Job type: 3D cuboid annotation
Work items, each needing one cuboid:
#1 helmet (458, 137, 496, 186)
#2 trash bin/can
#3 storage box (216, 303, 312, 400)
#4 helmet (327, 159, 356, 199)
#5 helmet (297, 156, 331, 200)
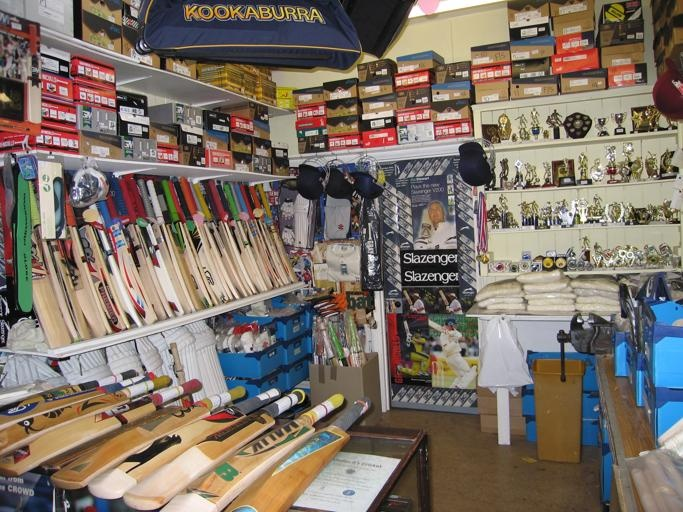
[{"bbox_3d":[1.132,-0.806,4.272,0.257,0.342,0.335,4,4,3],"label":"helmet"},{"bbox_3d":[1.704,1.215,3.857,0.379,0.744,0.248,-3,7,-1],"label":"trash bin/can"},{"bbox_3d":[-0.703,0.912,4.539,0.477,0.763,0.978,0,7,25],"label":"storage box"},{"bbox_3d":[0.002,-0.688,4.768,0.258,0.359,0.268,3,-37,-1],"label":"helmet"},{"bbox_3d":[-0.246,-0.741,4.755,0.271,0.290,0.347,8,33,1],"label":"helmet"}]
